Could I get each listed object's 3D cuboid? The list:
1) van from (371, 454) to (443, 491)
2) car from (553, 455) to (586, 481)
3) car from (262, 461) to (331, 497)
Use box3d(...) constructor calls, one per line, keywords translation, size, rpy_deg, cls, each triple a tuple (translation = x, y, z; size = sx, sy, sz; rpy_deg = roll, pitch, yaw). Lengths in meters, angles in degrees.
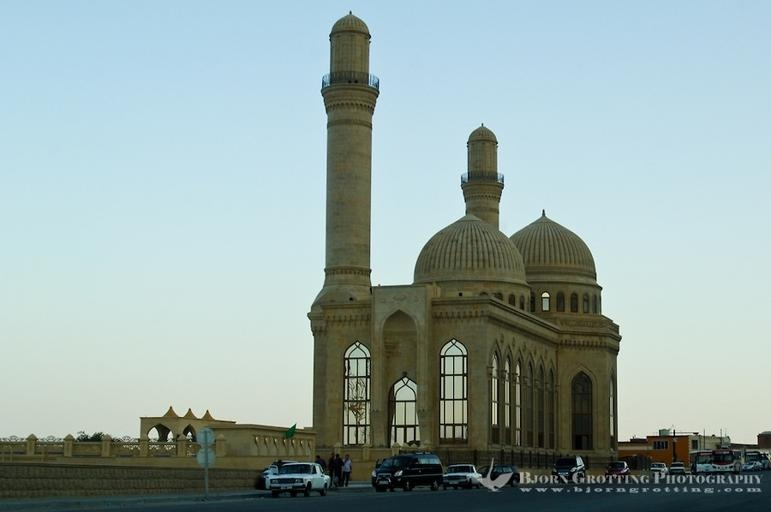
box3d(translation=(1.102, 12.012, 94.707), size=(2.068, 1.444, 3.228), rpy_deg=(-11, -16, 37), cls="van")
box3d(translation=(11.380, 13.149, 105.004), size=(1.886, 1.829, 1.564), rpy_deg=(4, -18, -15), cls="car")
box3d(translation=(-4.596, 11.717, 89.182), size=(3.078, 2.254, 2.721), rpy_deg=(2, -17, -9), cls="car")
